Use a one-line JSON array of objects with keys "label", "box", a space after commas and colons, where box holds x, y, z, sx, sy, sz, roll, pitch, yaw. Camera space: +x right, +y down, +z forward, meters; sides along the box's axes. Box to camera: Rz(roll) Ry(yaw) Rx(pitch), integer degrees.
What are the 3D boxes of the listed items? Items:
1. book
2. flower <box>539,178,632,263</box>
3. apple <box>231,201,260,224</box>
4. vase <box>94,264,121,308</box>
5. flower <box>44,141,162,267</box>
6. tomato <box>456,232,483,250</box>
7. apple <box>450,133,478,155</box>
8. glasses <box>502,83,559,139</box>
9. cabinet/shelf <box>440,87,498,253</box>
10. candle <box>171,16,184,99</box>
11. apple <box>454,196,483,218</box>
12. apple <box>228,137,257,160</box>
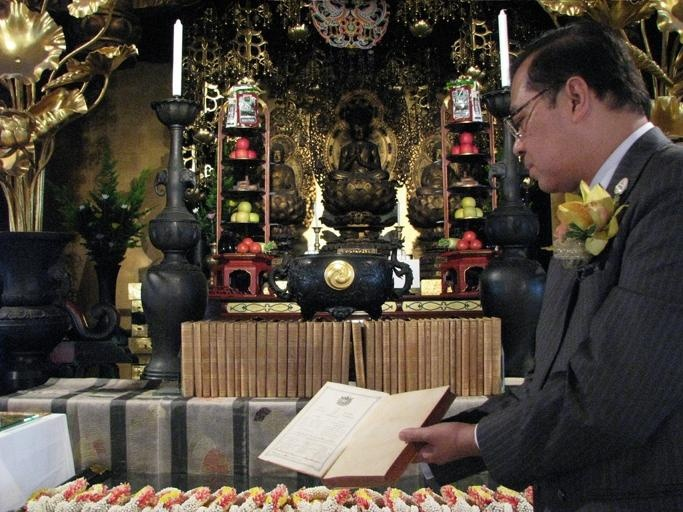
[{"label": "book", "box": [0.030, 0.517, 2.635, 0.420, 0.098, 0.374, 11, 31, 33]}, {"label": "flower", "box": [0.664, -0.084, 2.499, 0.114, 0.195, 0.226, 25, -14, -27]}, {"label": "apple", "box": [-0.625, -0.260, 5.922, 0.134, 0.170, 0.209, -3, 1, -33]}, {"label": "vase", "box": [-1.311, 0.158, 5.171, 0.120, 0.239, 0.329, 0, 2, -13]}, {"label": "flower", "box": [-1.303, -0.251, 5.284, 0.641, 0.671, 0.675, -6, -10, 40]}, {"label": "tomato", "box": [0.746, -0.079, 5.418, 0.129, 0.053, 0.122, 5, -38, 1]}, {"label": "apple", "box": [0.792, -0.702, 5.877, 0.156, 0.142, 0.152, 0, -5, 3]}, {"label": "glasses", "box": [0.525, -0.404, 2.580, 0.115, 0.034, 0.112, -42, -11, 6]}, {"label": "cabinet/shelf", "box": [0.781, -0.512, 5.950, 0.494, 1.242, 0.444, -1, 4, -5]}, {"label": "candle", "box": [-0.667, -0.799, 3.758, 0.035, 0.335, 0.239, 0, 2, -12]}, {"label": "apple", "box": [0.806, -0.295, 5.879, 0.153, 0.115, 0.147, 0, -6, -9]}, {"label": "apple", "box": [-0.630, -0.671, 5.894, 0.159, 0.122, 0.156, -1, -7, -1]}]
